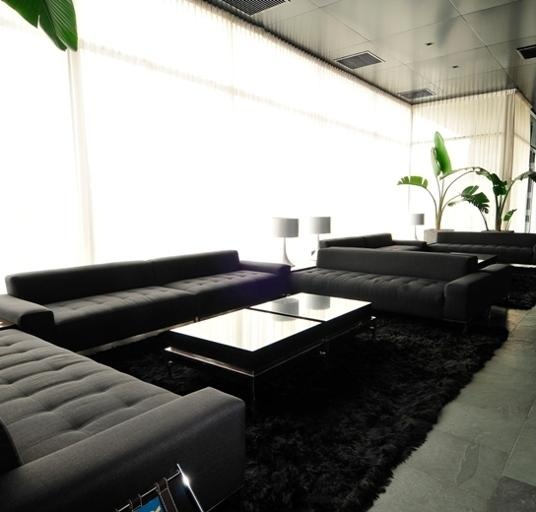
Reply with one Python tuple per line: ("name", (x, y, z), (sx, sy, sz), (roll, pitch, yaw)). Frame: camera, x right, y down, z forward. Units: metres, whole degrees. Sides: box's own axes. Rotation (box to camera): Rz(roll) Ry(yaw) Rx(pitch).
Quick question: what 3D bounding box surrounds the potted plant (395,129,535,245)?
("potted plant", (3.932, -1.490, 8.130), (1.713, 2.032, 2.147), (6, 9, 31))
